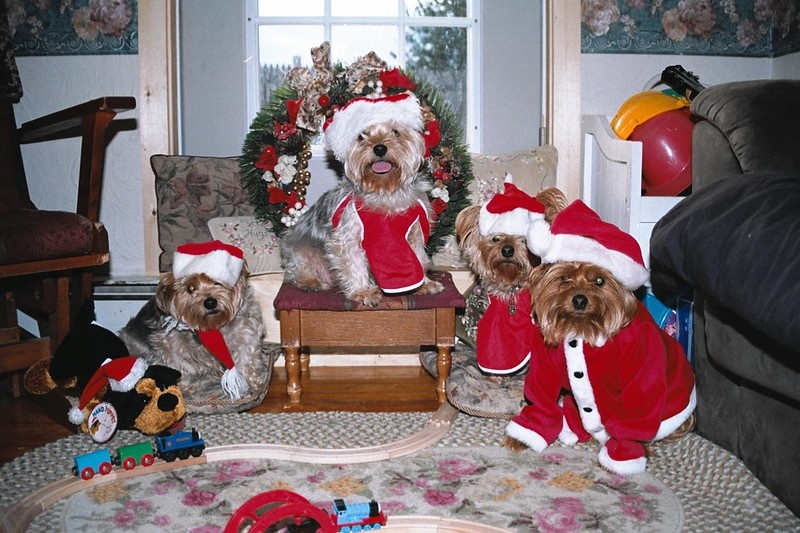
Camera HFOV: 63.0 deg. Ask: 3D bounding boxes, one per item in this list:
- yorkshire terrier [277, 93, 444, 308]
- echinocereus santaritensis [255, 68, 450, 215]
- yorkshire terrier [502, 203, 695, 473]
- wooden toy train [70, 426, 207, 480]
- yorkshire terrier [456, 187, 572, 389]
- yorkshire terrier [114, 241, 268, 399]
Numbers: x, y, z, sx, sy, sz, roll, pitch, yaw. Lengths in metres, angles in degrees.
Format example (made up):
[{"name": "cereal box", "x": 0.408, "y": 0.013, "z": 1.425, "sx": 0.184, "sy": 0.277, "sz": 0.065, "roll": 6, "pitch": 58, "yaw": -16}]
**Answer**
[{"name": "yorkshire terrier", "x": -0.203, "y": -0.478, "z": 4.090, "sx": 0.966, "sy": 1.385, "sz": 1.145, "roll": -7, "pitch": 13, "yaw": -28}, {"name": "echinocereus santaritensis", "x": -0.251, "y": -0.893, "z": 4.253, "sx": 1.161, "sy": 0.910, "sz": 0.738, "roll": -1, "pitch": 14, "yaw": 0}, {"name": "yorkshire terrier", "x": 1.054, "y": 0.362, "z": 3.465, "sx": 0.944, "sy": 1.311, "sz": 0.774, "roll": 5, "pitch": 20, "yaw": 14}, {"name": "wooden toy train", "x": -1.276, "y": 0.880, "z": 3.246, "sx": 0.665, "sy": 0.185, "sz": 0.482, "roll": -3, "pitch": 11, "yaw": -11}, {"name": "yorkshire terrier", "x": 0.626, "y": 0.082, "z": 3.698, "sx": 0.595, "sy": 1.093, "sz": 0.477, "roll": -3, "pitch": 12, "yaw": -14}, {"name": "yorkshire terrier", "x": -1.089, "y": 0.288, "z": 3.570, "sx": 0.609, "sy": 0.603, "sz": 0.972, "roll": -4, "pitch": 8, "yaw": -26}]
